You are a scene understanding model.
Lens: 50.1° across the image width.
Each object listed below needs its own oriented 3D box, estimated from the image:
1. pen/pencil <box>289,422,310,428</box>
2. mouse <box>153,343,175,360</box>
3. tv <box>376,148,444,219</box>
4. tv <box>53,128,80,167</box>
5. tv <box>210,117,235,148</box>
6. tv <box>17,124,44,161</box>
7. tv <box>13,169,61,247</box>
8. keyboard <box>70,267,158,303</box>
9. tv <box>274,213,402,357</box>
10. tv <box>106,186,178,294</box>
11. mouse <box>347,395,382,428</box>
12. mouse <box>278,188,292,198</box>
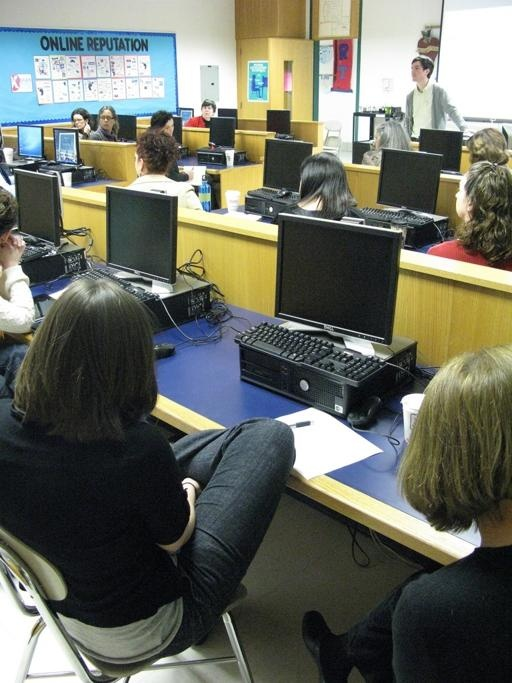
[{"bbox_3d":[0.106,0.203,1.340,0.028,0.007,0.016,-11,19,-26],"label":"pen/pencil"},{"bbox_3d":[-0.297,0.031,1.753,0.073,0.034,0.104,6,16,15],"label":"mouse"},{"bbox_3d":[0.981,-1.023,3.513,0.057,0.362,0.425,-22,34,-39],"label":"tv"},{"bbox_3d":[-1.794,-1.829,5.190,0.048,0.333,0.472,-9,15,-42],"label":"tv"},{"bbox_3d":[-0.365,-2.271,5.964,0.252,0.343,0.185,11,26,22],"label":"tv"},{"bbox_3d":[-2.364,-2.075,5.747,0.405,0.350,0.081,18,18,31],"label":"tv"},{"bbox_3d":[-0.966,-0.580,2.418,0.053,0.298,0.401,-19,31,-40],"label":"tv"},{"bbox_3d":[-0.358,-0.156,1.476,0.244,0.034,0.077,32,47,33],"label":"keyboard"},{"bbox_3d":[0.221,-0.147,1.518,0.372,0.275,0.033,19,22,39],"label":"tv"},{"bbox_3d":[-0.427,-0.396,2.067,0.381,0.326,0.056,18,22,36],"label":"tv"},{"bbox_3d":[0.268,0.177,1.363,0.050,0.032,0.097,22,48,36],"label":"mouse"},{"bbox_3d":[0.197,-1.027,3.832,0.083,0.043,0.118,3,18,3],"label":"mouse"}]
